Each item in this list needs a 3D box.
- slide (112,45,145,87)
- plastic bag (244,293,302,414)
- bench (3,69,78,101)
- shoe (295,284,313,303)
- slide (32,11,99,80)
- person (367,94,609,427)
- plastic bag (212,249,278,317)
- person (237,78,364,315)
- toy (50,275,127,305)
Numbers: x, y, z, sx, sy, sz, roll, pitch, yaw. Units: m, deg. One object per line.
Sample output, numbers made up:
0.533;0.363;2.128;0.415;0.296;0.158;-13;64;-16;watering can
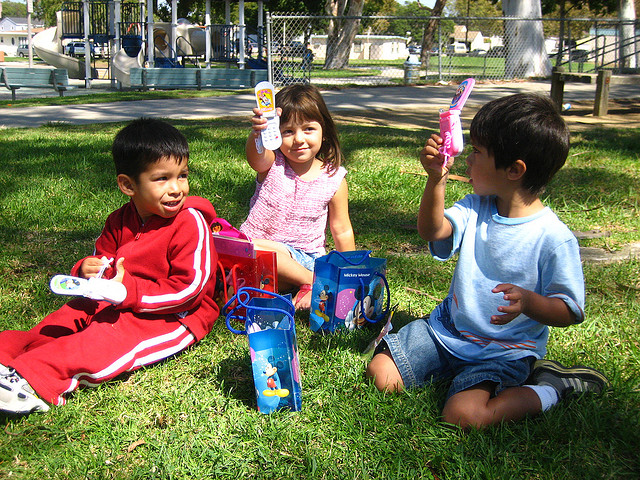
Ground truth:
-5.922;-5.330;16.387;1.020;1.598;0.598;0;-8;-9;slide
-0.193;0.481;2.358;0.184;0.539;0.379;-1;7;2;plastic bag
-7.655;-4.292;14.221;1.449;0.706;1.759;-7;17;-35;bench
-0.088;0.302;3.075;0.042;0.055;0.137;-29;17;50;shoe
-11.243;-8.432;22.724;1.984;2.149;1.799;-16;28;-36;slide
0.750;0.068;2.238;0.914;1.341;0.580;10;15;30;person
-0.432;0.214;2.920;0.373;0.384;0.217;3;3;36;plastic bag
-0.116;-0.273;3.138;0.701;1.264;0.540;0;13;-9;person
-1.014;0.223;2.317;0.310;0.126;0.108;-3;14;-22;toy
